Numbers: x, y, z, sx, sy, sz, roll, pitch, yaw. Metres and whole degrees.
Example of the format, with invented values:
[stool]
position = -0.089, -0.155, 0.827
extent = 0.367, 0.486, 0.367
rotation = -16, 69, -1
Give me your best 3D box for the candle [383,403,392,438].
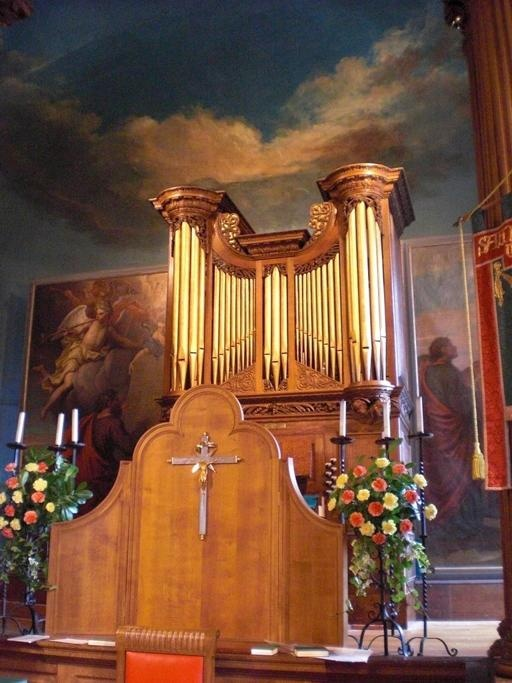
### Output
[candle]
position = 0.749, 0.453, 4.207
extent = 0.043, 0.215, 0.123
rotation = -6, -13, 5
